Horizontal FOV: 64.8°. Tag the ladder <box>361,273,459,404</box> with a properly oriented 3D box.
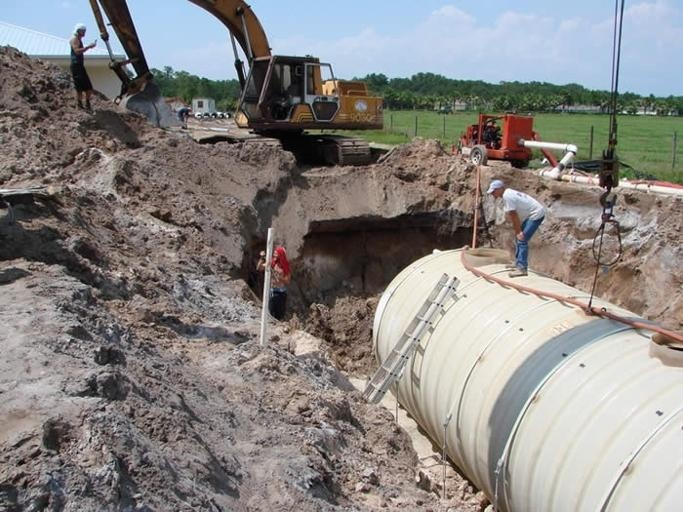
[{"bbox_3d":[1.123,1.370,8.491,0.367,0.293,2.691,28,77,40],"label":"ladder"}]

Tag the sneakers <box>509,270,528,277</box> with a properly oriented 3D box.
[{"bbox_3d":[2.683,0.260,8.208,0.302,0.135,0.113,-4,12,-6],"label":"sneakers"}]

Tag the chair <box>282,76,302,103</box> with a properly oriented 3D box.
[{"bbox_3d":[-1.237,-4.246,13.457,0.525,0.877,0.451,-4,18,-6],"label":"chair"}]

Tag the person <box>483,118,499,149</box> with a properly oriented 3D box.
[{"bbox_3d":[4.779,-3.858,17.071,0.620,0.878,0.335,2,0,-6],"label":"person"}]

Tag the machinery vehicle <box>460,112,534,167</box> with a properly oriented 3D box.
[{"bbox_3d":[4.871,-3.633,17.058,1.574,1.679,2.902,-2,15,-22],"label":"machinery vehicle"}]
